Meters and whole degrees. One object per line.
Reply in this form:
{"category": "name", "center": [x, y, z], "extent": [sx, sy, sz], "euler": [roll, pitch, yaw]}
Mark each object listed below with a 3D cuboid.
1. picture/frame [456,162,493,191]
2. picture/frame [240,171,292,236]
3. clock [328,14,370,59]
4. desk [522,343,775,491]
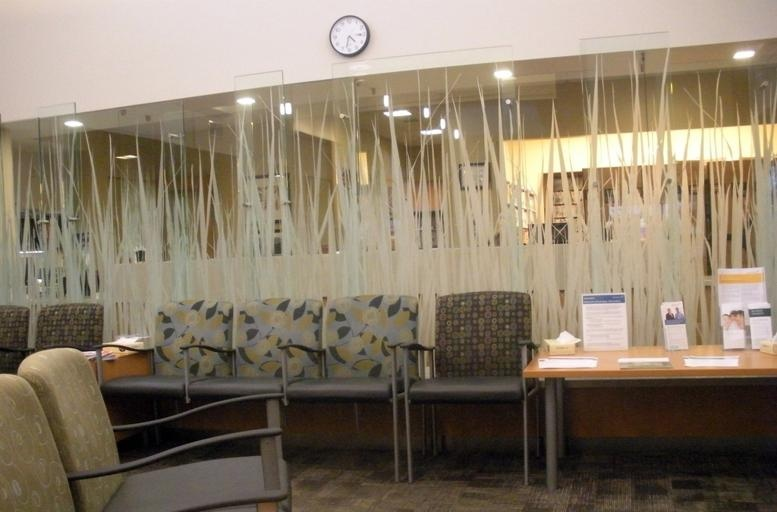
{"category": "picture/frame", "center": [0.704, -0.651, 5.566], "extent": [0.216, 0.201, 0.031], "euler": [0, 2, 10]}
{"category": "picture/frame", "center": [-1.027, -0.403, 5.898], "extent": [0.407, 0.566, 0.016], "euler": [0, -27, -11]}
{"category": "clock", "center": [-0.327, -1.926, 6.150], "extent": [0.348, 0.379, 0.346], "euler": [1, 8, 15]}
{"category": "desk", "center": [1.772, 1.093, 4.858], "extent": [1.598, 0.972, 0.974], "euler": [-2, 10, 10]}
